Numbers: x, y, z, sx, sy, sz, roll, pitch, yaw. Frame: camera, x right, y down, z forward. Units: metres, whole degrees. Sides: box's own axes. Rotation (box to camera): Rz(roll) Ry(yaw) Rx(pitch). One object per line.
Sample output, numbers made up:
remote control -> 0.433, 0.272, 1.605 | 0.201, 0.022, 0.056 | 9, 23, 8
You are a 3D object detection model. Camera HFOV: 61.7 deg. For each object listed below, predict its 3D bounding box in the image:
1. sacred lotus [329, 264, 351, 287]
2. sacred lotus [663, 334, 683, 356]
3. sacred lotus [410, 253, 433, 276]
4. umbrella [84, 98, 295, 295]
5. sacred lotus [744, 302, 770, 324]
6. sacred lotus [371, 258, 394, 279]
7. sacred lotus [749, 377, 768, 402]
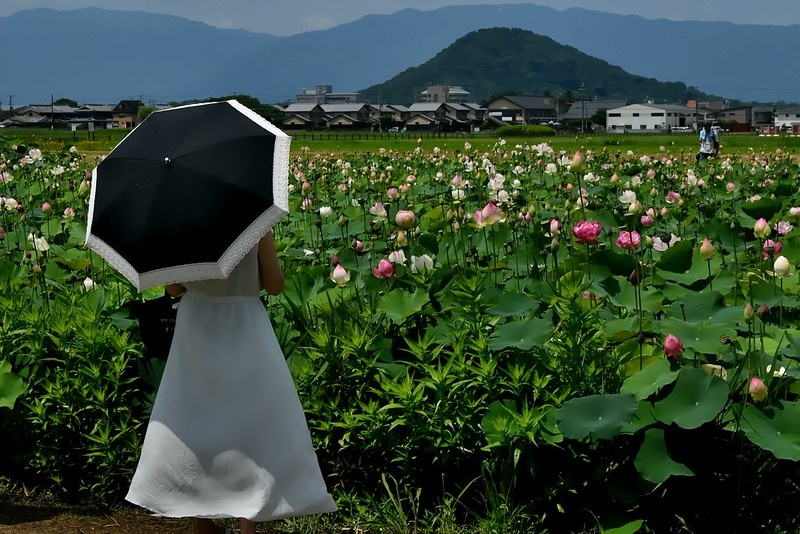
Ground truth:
sacred lotus -> -0.348, 0.053, 4.164 | 0.140, 0.168, 0.124 | -4, -2, -36
sacred lotus -> 1.376, 0.400, 3.359 | 0.079, 0.122, 0.127 | 8, 11, 24
sacred lotus -> 0.127, -0.011, 4.332 | 0.123, 0.148, 0.119 | 15, -16, -34
umbrella -> -0.967, -0.337, 3.046 | 0.996, 0.842, 0.407 | 6, 10, 9
sacred lotus -> 2.041, 0.271, 3.809 | 0.168, 0.115, 0.057 | 1, -6, -26
sacred lotus -> -0.108, 0.001, 4.241 | 0.123, 0.128, 0.071 | -6, -24, -2
sacred lotus -> 1.704, 0.575, 3.176 | 0.081, 0.128, 0.153 | 9, 12, 29
